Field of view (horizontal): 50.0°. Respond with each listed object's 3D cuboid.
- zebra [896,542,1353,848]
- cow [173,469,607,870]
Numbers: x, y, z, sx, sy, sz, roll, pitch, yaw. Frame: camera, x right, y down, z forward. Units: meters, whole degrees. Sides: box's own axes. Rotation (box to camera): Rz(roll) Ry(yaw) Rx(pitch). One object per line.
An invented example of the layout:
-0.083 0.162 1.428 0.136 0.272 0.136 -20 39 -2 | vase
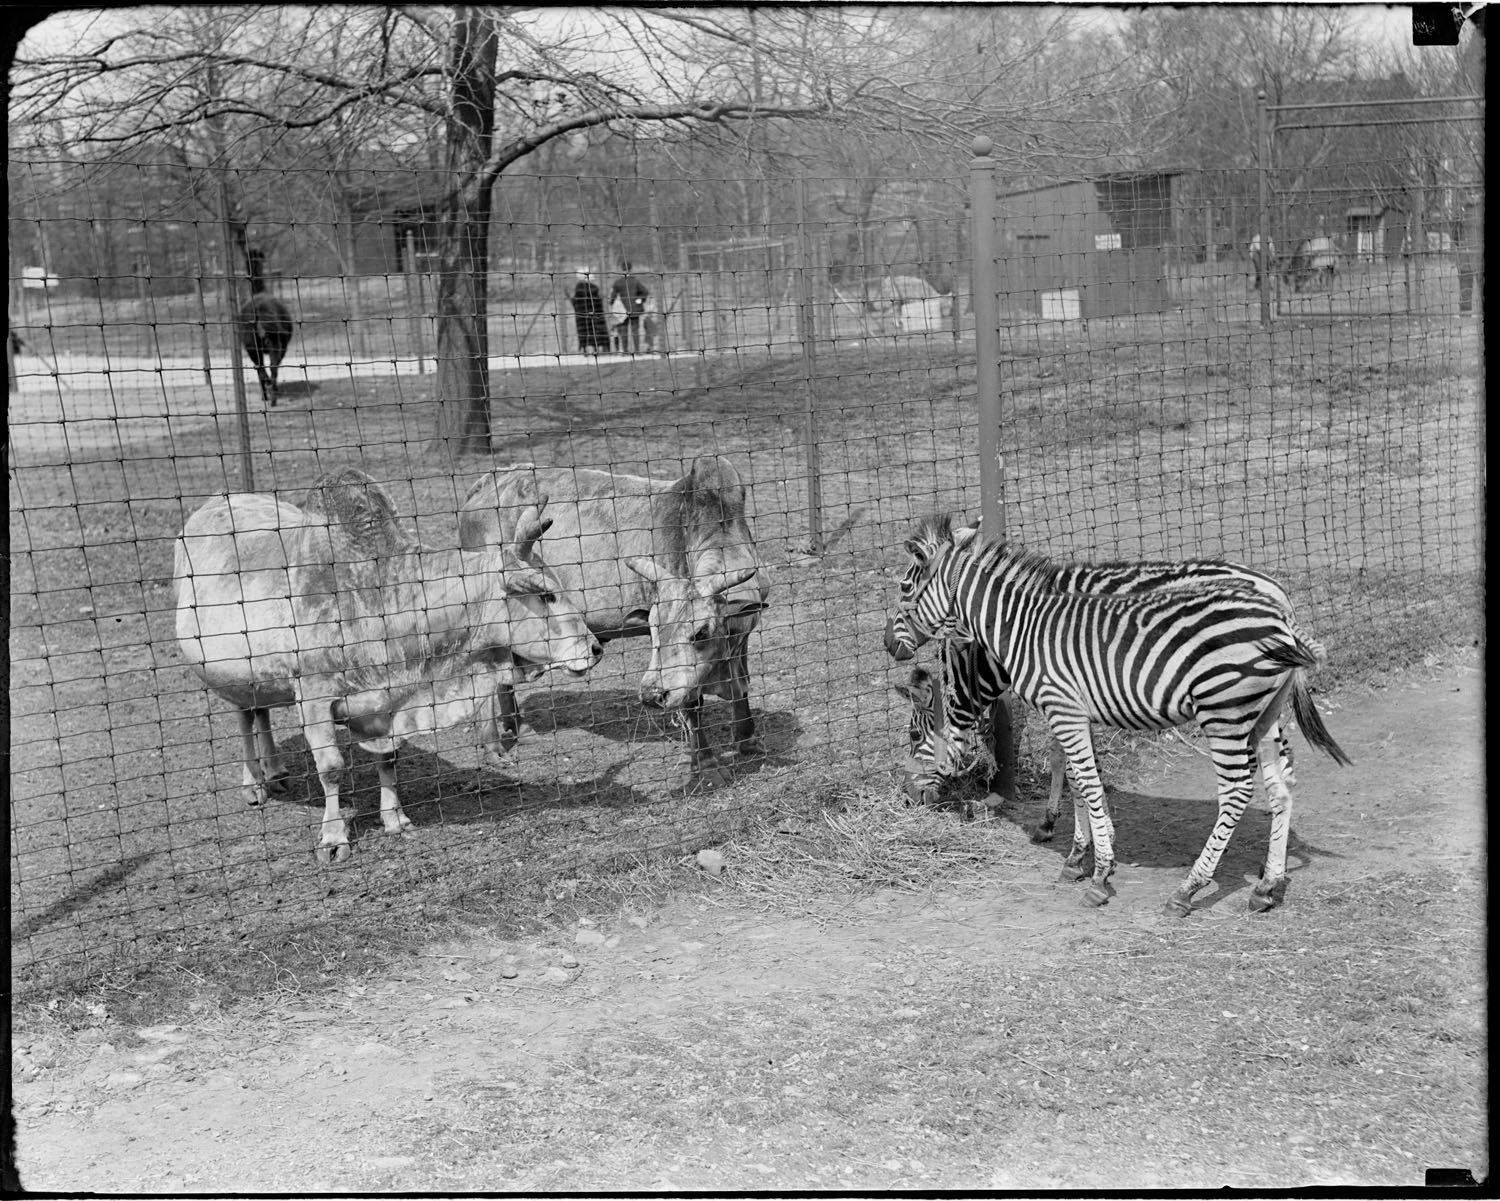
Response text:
1.650 0.563 7.721 2.142 1.740 0.617 2 14 33 | zebra
-1.953 0.293 8.093 2.283 1.898 0.904 -4 9 19 | cow
